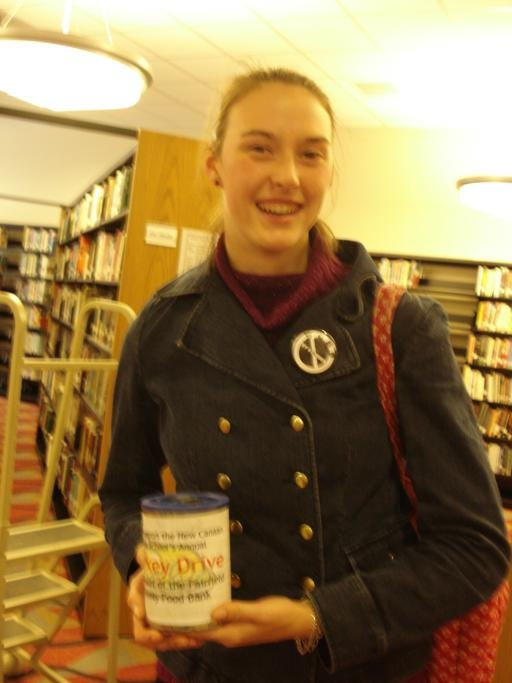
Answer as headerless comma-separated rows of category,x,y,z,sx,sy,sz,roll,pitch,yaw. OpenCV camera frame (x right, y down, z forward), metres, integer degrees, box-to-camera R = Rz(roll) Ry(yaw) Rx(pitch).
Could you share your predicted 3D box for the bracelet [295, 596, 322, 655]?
bracelet,0.060,0.314,0.576,0.016,0.059,0.042,12,-13,-31
